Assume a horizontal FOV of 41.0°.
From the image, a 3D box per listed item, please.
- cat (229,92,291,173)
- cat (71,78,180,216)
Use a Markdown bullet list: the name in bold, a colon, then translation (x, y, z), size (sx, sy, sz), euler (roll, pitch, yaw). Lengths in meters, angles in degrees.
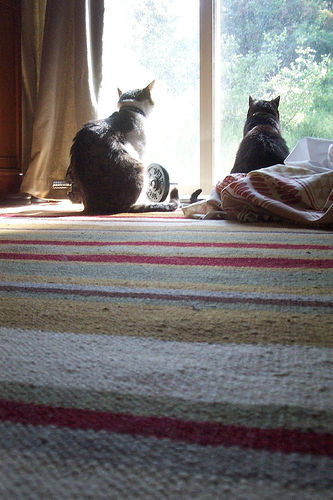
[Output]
- **cat**: translation (0.451, -0.507, 2.131), size (0.235, 0.294, 0.579), euler (-2, 46, 16)
- **cat**: translation (-0.174, -0.505, 2.179), size (0.477, 0.676, 0.562), euler (3, 5, 11)
